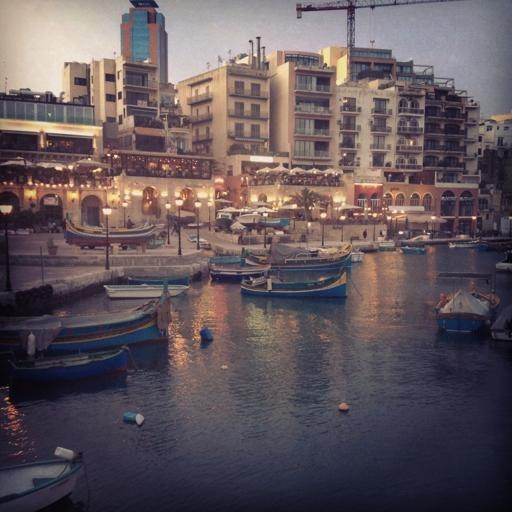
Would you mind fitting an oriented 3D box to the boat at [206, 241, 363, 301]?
[{"bbox_3d":[1.956,0.994,48.388,7.244,2.130,10.450,-4,13,-22],"label":"boat"}]

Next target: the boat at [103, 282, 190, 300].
[{"bbox_3d":[-5.788,1.746,40.961,3.746,0.889,1.052,-1,5,-15],"label":"boat"}]

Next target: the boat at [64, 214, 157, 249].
[{"bbox_3d":[-9.379,-1.496,50.800,5.380,1.923,1.610,-4,12,-21],"label":"boat"}]

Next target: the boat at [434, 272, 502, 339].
[{"bbox_3d":[10.186,2.487,38.101,2.509,2.733,6.073,0,13,19],"label":"boat"}]

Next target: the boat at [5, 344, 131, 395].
[{"bbox_3d":[-6.530,3.821,27.746,3.997,1.009,0.777,-6,13,-27],"label":"boat"}]
